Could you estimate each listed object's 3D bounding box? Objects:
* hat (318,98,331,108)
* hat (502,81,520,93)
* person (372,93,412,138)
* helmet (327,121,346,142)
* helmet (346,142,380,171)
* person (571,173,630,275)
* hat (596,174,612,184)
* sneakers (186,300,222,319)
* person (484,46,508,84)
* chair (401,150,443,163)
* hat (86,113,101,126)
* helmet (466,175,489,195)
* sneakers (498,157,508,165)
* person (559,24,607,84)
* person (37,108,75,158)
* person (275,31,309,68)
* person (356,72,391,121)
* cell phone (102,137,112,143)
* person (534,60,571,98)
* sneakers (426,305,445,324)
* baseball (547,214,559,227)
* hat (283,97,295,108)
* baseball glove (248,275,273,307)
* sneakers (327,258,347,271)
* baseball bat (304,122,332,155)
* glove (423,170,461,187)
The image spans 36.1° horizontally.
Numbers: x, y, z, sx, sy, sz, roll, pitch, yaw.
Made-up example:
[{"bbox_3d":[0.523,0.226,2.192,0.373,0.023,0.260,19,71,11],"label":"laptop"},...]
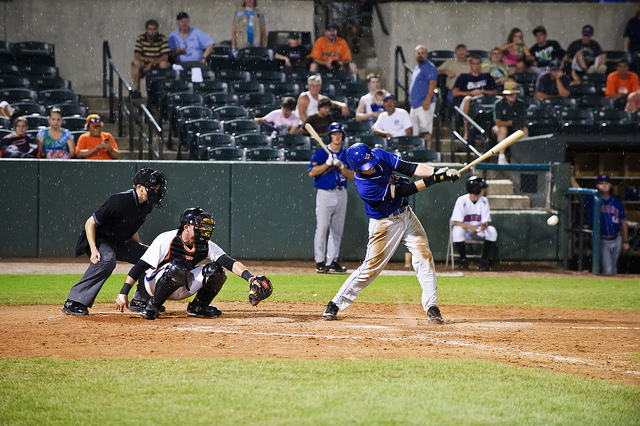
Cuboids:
[{"bbox_3d":[0.092,-2.586,22.960,0.281,0.228,0.215,1,14,1],"label":"hat"},{"bbox_3d":[4.732,-3.079,24.127,0.434,0.254,0.426,-4,5,-15],"label":"hat"},{"bbox_3d":[1.721,-2.334,24.029,1.151,1.244,0.828,-3,10,17],"label":"person"},{"bbox_3d":[0.354,-1.794,21.200,0.283,0.400,0.383,-2,13,-6],"label":"helmet"},{"bbox_3d":[0.705,-0.965,17.151,0.524,0.409,0.314,24,-22,41],"label":"helmet"},{"bbox_3d":[6.756,0.297,22.710,0.747,2.175,0.923,5,14,15],"label":"person"},{"bbox_3d":[6.842,-0.823,23.643,0.335,0.167,0.526,-1,1,12],"label":"hat"},{"bbox_3d":[-2.084,1.747,17.657,0.618,0.287,0.273,0,5,-3],"label":"sneakers"},{"bbox_3d":[4.809,-4.027,26.837,0.981,1.022,0.602,-8,13,-22],"label":"person"},{"bbox_3d":[2.375,-1.344,23.280,0.631,0.348,0.853,2,3,14],"label":"chair"},{"bbox_3d":[-5.131,-2.115,22.132,0.284,0.216,0.390,0,8,-36],"label":"hat"},{"bbox_3d":[3.579,-0.610,22.328,0.407,0.376,0.353,4,19,-5],"label":"helmet"},{"bbox_3d":[4.493,-1.272,24.116,0.153,0.209,0.474,-2,-4,9],"label":"sneakers"},{"bbox_3d":[7.804,-4.654,28.727,1.120,1.665,1.195,0,4,-15],"label":"person"},{"bbox_3d":[-6.102,-1.887,22.637,0.843,1.232,0.687,10,16,33],"label":"person"},{"bbox_3d":[-0.724,-4.410,27.518,0.815,1.449,0.700,5,-7,-17],"label":"person"},{"bbox_3d":[1.254,-2.960,24.862,0.978,1.539,1.032,-3,14,-17],"label":"person"},{"bbox_3d":[-4.917,-1.674,22.597,0.156,0.094,0.151,-5,15,-24],"label":"cell phone"},{"bbox_3d":[6.470,-3.612,27.010,0.789,1.266,1.329,2,21,9],"label":"person"},{"bbox_3d":[2.036,1.826,17.299,0.182,0.268,0.366,1,5,17],"label":"sneakers"},{"bbox_3d":[5.439,0.198,22.813,0.147,0.242,0.237,41,-24,-16],"label":"baseball"},{"bbox_3d":[-0.755,-2.706,23.981,0.301,0.241,0.294,-1,13,2],"label":"hat"},{"bbox_3d":[-1.057,1.369,17.168,0.495,0.373,0.228,-37,-28,13],"label":"baseball glove"},{"bbox_3d":[0.383,1.199,21.874,0.435,0.304,0.180,-2,6,-3],"label":"sneakers"},{"bbox_3d":[-0.034,-1.715,22.544,0.063,0.174,1.280,21,28,-51],"label":"baseball bat"},{"bbox_3d":[2.096,-0.637,17.129,0.643,0.272,0.341,0,14,-5],"label":"glove"}]
